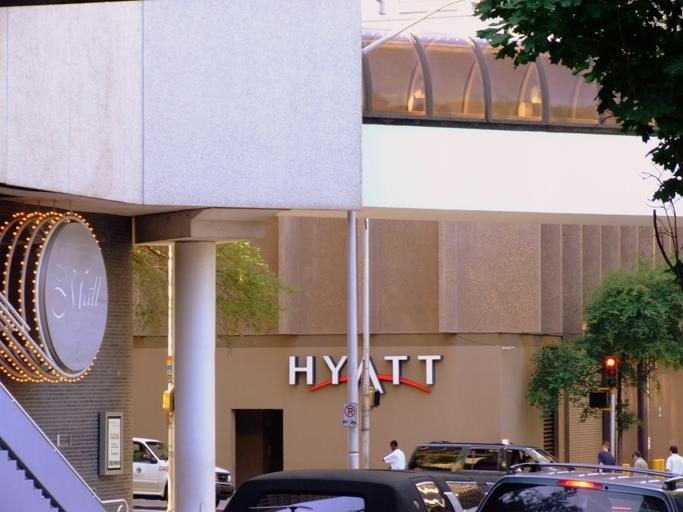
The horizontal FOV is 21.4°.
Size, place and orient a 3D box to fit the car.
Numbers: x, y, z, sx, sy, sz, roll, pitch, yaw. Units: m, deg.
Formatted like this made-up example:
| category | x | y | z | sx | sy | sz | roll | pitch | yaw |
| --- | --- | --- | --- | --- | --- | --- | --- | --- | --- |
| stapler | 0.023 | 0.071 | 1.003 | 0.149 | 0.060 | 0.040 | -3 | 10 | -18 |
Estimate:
| category | x | y | z | sx | sy | sz | roll | pitch | yaw |
| --- | --- | --- | --- | --- | --- | --- | --- | --- | --- |
| car | -4.378 | 5.981 | 50.045 | 3.329 | 1.727 | 1.808 | -1 | -6 | 12 |

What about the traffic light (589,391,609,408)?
| category | x | y | z | sx | sy | sz | roll | pitch | yaw |
| --- | --- | --- | --- | --- | --- | --- | --- | --- | --- |
| traffic light | 6.355 | 3.562 | 44.661 | 0.389 | 0.431 | 0.414 | 0 | -2 | -11 |

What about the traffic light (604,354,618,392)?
| category | x | y | z | sx | sy | sz | roll | pitch | yaw |
| --- | --- | --- | --- | --- | --- | --- | --- | --- | --- |
| traffic light | 6.715 | 2.889 | 45.078 | 0.340 | 0.964 | 1.201 | -4 | -10 | 9 |
